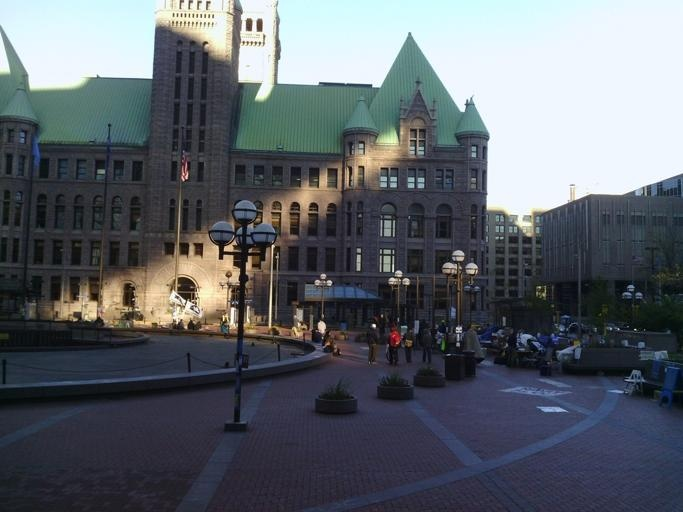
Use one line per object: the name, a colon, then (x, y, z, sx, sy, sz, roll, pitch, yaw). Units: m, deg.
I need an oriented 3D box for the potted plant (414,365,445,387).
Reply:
potted plant: (3.323, 4.601, 27.654, 0.738, 0.484, 0.776, 0, -4, 33)

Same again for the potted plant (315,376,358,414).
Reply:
potted plant: (-0.177, 4.354, 22.672, 1.029, 0.837, 1.104, 1, -7, -4)

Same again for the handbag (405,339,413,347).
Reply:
handbag: (3.341, 4.325, 36.053, 0.350, 0.304, 0.359, -3, 3, -25)

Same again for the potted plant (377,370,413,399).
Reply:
potted plant: (1.833, 4.443, 25.109, 0.866, 0.739, 0.931, 1, -9, 0)

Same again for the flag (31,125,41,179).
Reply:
flag: (-32.312, -11.518, 76.676, 0.897, 5.221, 5.326, 2, -5, -22)

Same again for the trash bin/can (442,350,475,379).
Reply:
trash bin/can: (4.763, 4.580, 30.566, 1.509, 0.984, 1.624, 4, -3, -41)
